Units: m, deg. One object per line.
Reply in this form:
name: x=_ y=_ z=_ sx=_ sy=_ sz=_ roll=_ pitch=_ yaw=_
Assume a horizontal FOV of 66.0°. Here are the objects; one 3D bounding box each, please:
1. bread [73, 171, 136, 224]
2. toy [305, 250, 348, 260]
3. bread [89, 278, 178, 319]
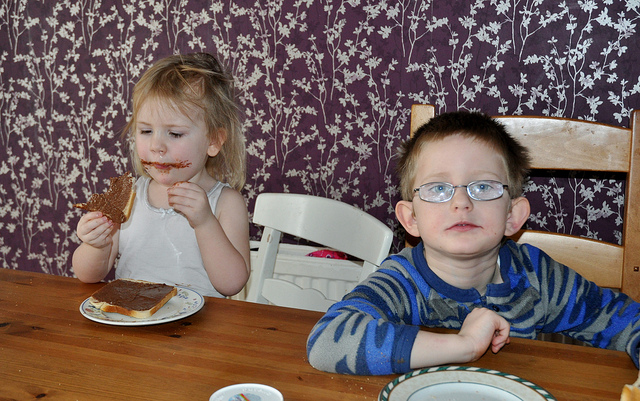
bread: x=-0.691 y=0.001 z=1.599 sx=0.195 sy=0.154 sz=0.134 roll=-7 pitch=15 yaw=-35
toy: x=0.031 y=0.262 z=2.343 sx=0.191 sy=0.042 sz=0.091 roll=4 pitch=12 yaw=11
bread: x=-0.527 y=0.297 z=1.400 sx=0.240 sy=0.043 sz=0.110 roll=-2 pitch=12 yaw=-17
